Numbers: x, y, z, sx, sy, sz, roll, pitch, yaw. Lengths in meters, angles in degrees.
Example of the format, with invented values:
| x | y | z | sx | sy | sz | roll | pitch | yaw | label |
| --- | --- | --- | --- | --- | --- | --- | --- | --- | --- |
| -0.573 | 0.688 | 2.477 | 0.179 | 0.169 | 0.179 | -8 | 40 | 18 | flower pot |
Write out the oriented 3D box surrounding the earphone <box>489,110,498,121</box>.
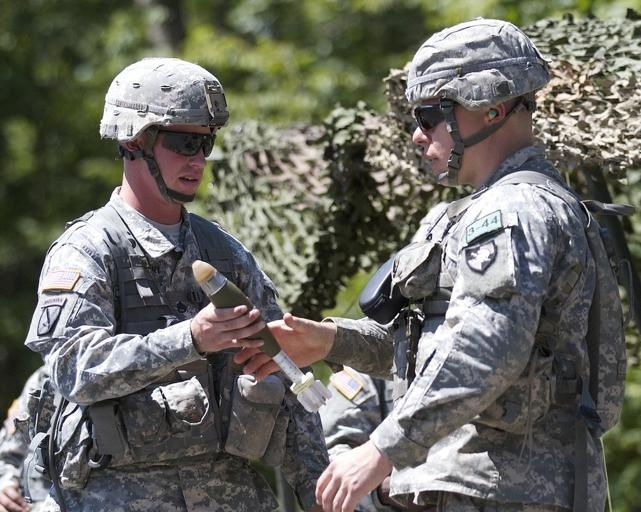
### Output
| x | y | z | sx | sy | sz | roll | pitch | yaw | label |
| --- | --- | --- | --- | --- | --- | --- | --- | --- | --- |
| 0.964 | -0.792 | 8.713 | 0.055 | 0.046 | 0.018 | 6 | 5 | -6 | earphone |

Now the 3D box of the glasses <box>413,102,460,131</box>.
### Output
| x | y | z | sx | sy | sz | roll | pitch | yaw | label |
| --- | --- | --- | --- | --- | --- | --- | --- | --- | --- |
| 0.646 | -0.777 | 8.749 | 0.183 | 0.062 | 0.171 | -1 | -12 | -24 | glasses |

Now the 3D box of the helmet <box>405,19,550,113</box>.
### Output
| x | y | z | sx | sy | sz | roll | pitch | yaw | label |
| --- | --- | --- | --- | --- | --- | --- | --- | --- | --- |
| 0.863 | -1.056 | 8.668 | 0.705 | 0.372 | 0.501 | -5 | 0 | 3 | helmet |

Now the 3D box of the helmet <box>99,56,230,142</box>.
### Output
| x | y | z | sx | sy | sz | roll | pitch | yaw | label |
| --- | --- | --- | --- | --- | --- | --- | --- | --- | --- |
| -0.926 | -0.895 | 9.016 | 0.601 | 0.320 | 0.581 | 4 | 5 | 29 | helmet |
